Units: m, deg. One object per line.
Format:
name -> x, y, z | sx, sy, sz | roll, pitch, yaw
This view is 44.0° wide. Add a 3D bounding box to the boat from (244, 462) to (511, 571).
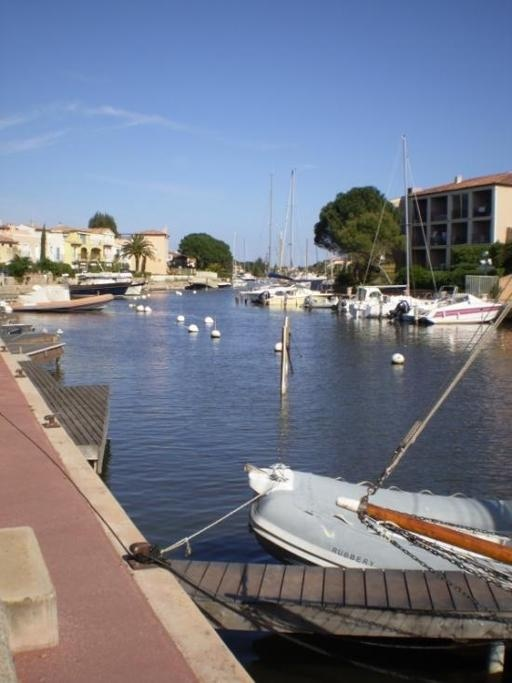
boat -> 1.164, 2.155, 7.563 | 2.849, 0.847, 1.598 | 11, 2, 41
